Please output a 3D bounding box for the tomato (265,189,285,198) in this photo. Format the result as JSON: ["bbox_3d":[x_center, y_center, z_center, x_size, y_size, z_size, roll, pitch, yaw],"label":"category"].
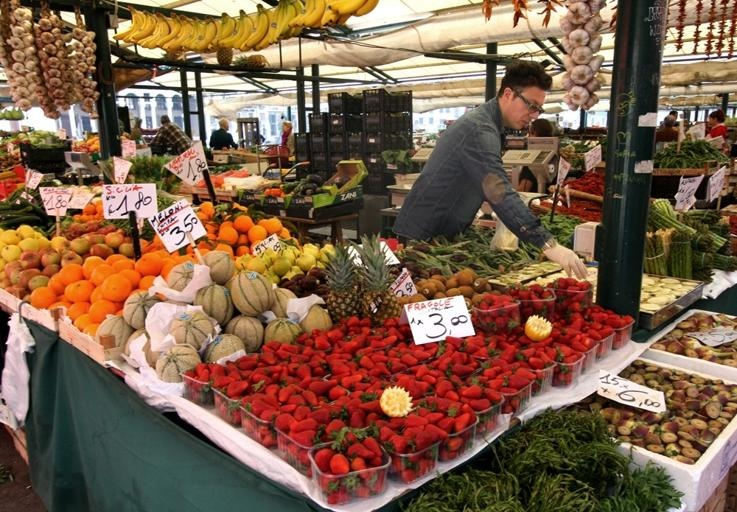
[{"bbox_3d":[-1.325,-0.905,7.055,0.254,0.097,0.147,4,18,18],"label":"tomato"}]

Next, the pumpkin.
[{"bbox_3d":[-0.869,0.327,3.023,1.022,0.697,1.150,-12,22,-38],"label":"pumpkin"}]

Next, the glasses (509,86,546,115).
[{"bbox_3d":[1.148,-1.130,3.602,0.195,0.058,0.190,11,41,-52],"label":"glasses"}]

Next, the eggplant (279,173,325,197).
[{"bbox_3d":[-0.955,-0.998,7.118,0.457,0.159,0.446,-3,18,30],"label":"eggplant"}]

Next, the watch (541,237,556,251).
[{"bbox_3d":[1.153,-0.077,3.156,0.064,0.032,0.080,-20,47,17],"label":"watch"}]
